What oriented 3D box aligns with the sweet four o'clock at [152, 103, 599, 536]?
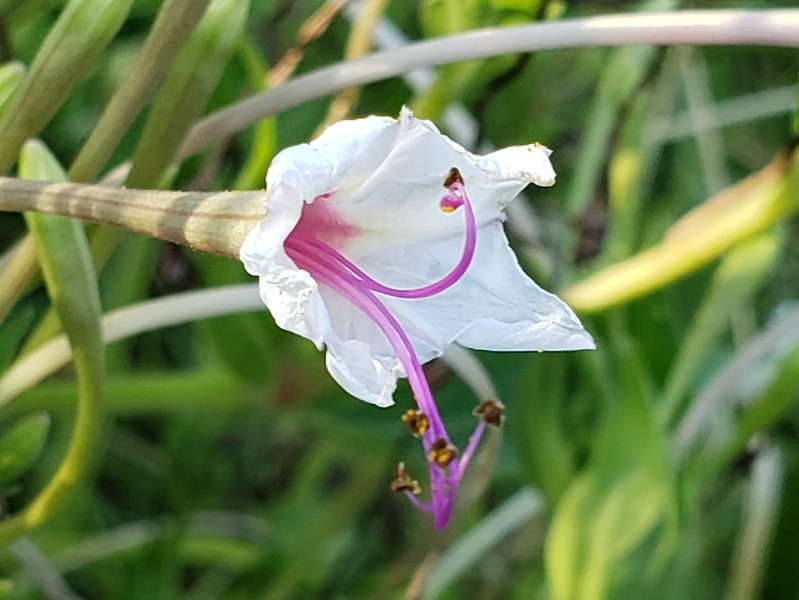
[{"bbox_3d":[-0.013,-0.021,1.670,0.791,0.520,0.460,34,-34,7],"label":"sweet four o'clock"}]
